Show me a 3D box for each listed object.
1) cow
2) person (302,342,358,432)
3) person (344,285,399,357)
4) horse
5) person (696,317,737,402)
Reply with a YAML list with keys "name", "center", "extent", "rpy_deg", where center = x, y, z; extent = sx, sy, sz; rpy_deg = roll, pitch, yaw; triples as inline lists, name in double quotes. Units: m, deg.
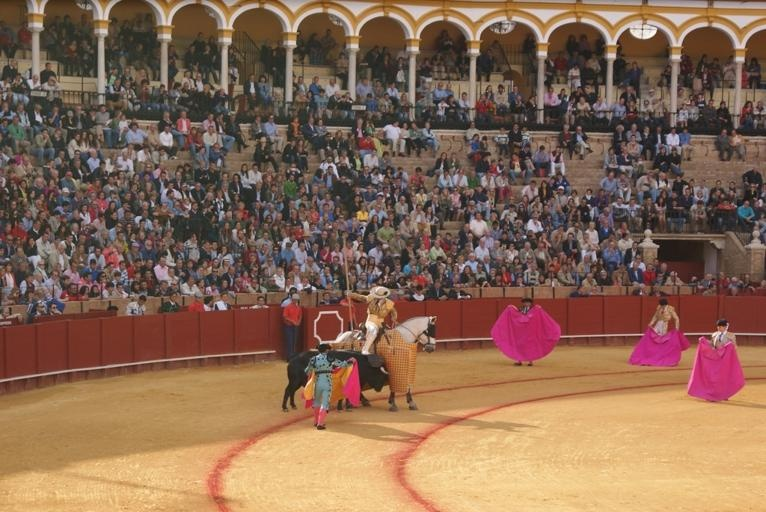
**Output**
- name: "cow"
  center: [-0.652, 2.949, 36.599]
  extent: [3.875, 2.075, 1.136]
  rpy_deg: [-2, 4, -11]
- name: "person"
  center: [-1.377, 3.149, 36.257]
  extent: [0.623, 2.068, 1.494]
  rpy_deg: [5, 7, 39]
- name: "person"
  center: [-0.167, 1.549, 37.159]
  extent: [1.193, 1.746, 0.843]
  rpy_deg: [14, -29, -4]
- name: "horse"
  center: [-0.168, 2.521, 38.404]
  extent: [4.174, 2.970, 1.266]
  rpy_deg: [-2, 1, 10]
- name: "person"
  center: [8.845, 2.852, 38.329]
  extent: [1.322, 1.798, 0.437]
  rpy_deg: [2, 6, 13]
